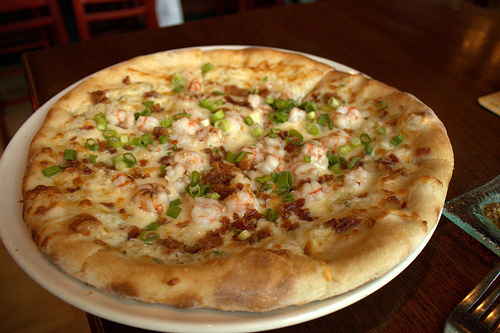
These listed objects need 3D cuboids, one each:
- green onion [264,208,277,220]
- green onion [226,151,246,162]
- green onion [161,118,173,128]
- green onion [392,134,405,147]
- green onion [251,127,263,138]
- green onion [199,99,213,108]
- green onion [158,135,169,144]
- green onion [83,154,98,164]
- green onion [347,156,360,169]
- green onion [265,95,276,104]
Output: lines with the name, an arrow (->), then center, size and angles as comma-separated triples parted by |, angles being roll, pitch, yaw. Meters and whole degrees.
green onion -> 0.176, 0.432, 4.066 | 0.098, 0.026, 0.092 | 6, 73, 5
green onion -> -0.160, -0.096, 4.502 | 0.123, 0.043, 0.113 | -7, 43, 12
green onion -> -0.904, -0.460, 4.719 | 0.095, 0.021, 0.085 | 16, 52, 30
green onion -> 1.491, -0.266, 4.490 | 0.081, 0.120, 0.032 | 28, 47, -7
green onion -> 0.064, -0.365, 4.799 | 0.110, 0.096, 0.123 | -4, 30, 39
green onion -> -0.506, -0.697, 5.000 | 0.111, 0.074, 0.101 | 10, 46, 12
green onion -> -0.904, -0.284, 4.584 | 0.091, 0.057, 0.083 | 3, 26, -1
green onion -> -1.596, -0.084, 4.415 | 0.103, 0.028, 0.093 | 13, 12, -6
green onion -> 1.022, -0.039, 4.436 | 0.055, 0.034, 0.197 | 38, 66, 12
green onion -> 0.225, -0.756, 5.045 | 0.094, 0.061, 0.090 | -25, 48, -26
